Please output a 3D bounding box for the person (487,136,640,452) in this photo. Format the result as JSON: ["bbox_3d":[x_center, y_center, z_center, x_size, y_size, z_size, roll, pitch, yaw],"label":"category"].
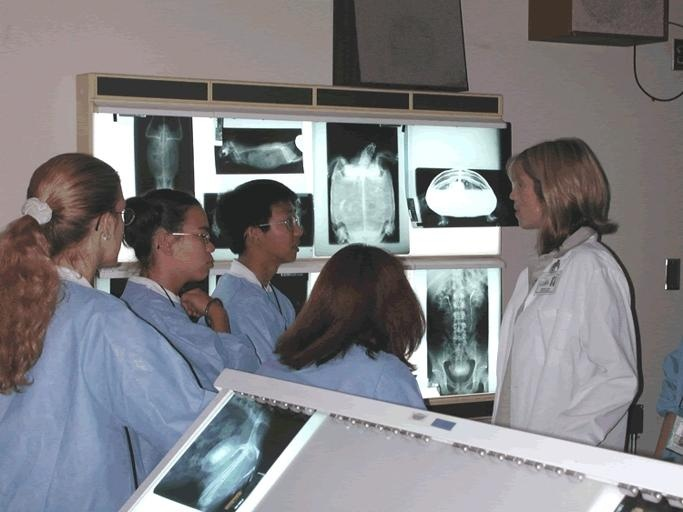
[{"bbox_3d":[0.807,0.122,2.697,0.389,1.104,0.540,-1,2,-13],"label":"person"}]

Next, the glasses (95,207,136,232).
[{"bbox_3d":[-0.709,-0.128,2.421,0.085,0.030,0.083,-15,4,-4],"label":"glasses"}]

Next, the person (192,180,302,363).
[{"bbox_3d":[-0.347,0.055,3.130,0.335,0.700,0.707,-2,4,0],"label":"person"}]
